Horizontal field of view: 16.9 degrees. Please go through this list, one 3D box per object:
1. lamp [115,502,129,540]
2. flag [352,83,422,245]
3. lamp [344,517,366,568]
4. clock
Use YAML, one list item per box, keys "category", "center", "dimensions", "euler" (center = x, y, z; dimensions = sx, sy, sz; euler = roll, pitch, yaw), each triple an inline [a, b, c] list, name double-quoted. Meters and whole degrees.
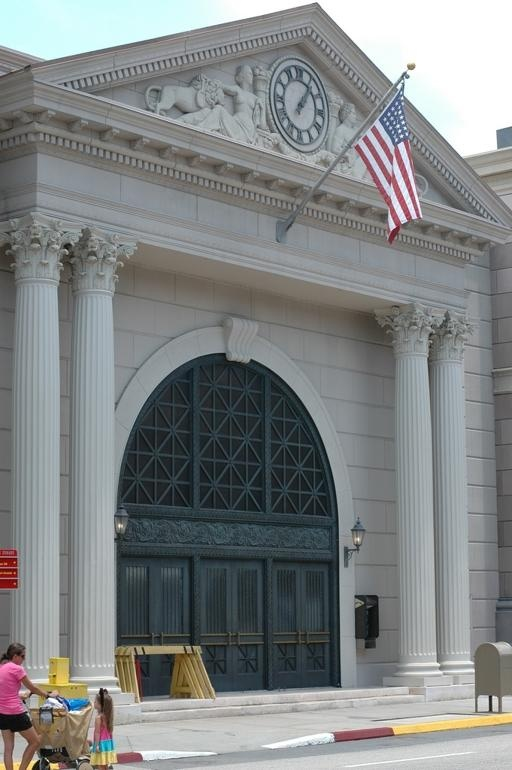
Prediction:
- category: "lamp"
  center: [-2.054, 2.110, 26.926]
  dimensions: [0.214, 0.565, 0.710]
  euler: [-1, -11, -5]
- category: "flag"
  center: [2.125, -3.558, 27.148]
  dimensions: [0.898, 2.480, 0.520]
  euler: [-5, -10, 17]
- category: "lamp"
  center: [1.875, 2.909, 31.110]
  dimensions: [0.409, 0.786, 0.603]
  euler: [-8, -12, 32]
- category: "clock"
  center: [0.696, -4.750, 29.232]
  dimensions: [0.142, 1.867, 1.742]
  euler: [-10, -10, 36]
